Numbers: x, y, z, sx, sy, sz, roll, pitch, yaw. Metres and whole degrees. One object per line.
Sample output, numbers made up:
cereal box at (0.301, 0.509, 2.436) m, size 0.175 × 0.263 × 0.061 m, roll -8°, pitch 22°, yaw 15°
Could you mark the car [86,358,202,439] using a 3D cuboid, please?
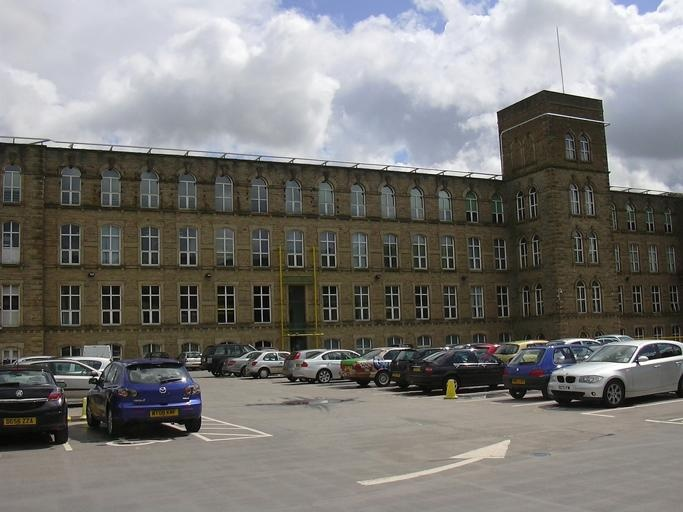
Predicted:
car at (-5.315, 3.646, 19.118) m, size 3.065 × 1.895 × 1.739 m, roll -3°, pitch -3°, yaw 38°
